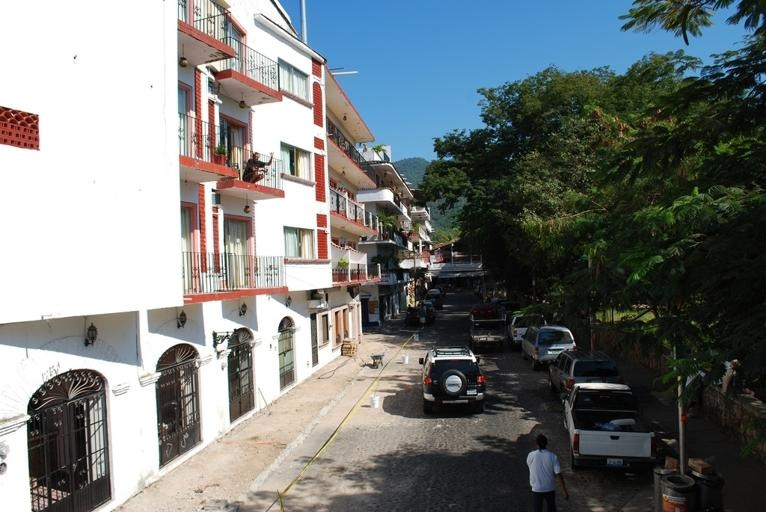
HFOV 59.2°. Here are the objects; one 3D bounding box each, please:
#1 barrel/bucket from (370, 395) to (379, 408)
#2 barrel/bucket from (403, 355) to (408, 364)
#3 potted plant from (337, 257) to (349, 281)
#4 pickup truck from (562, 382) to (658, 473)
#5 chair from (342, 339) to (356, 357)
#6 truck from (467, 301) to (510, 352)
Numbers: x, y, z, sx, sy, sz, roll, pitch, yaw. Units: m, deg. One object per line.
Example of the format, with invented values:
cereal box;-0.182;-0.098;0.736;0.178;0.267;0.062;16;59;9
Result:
barrel/bucket;-0.249;5.149;23.922;0.337;0.335;0.331;-1;-6;0
barrel/bucket;1.102;4.880;31.825;0.299;0.314;0.282;0;-3;0
potted plant;-2.005;0.712;34.173;0.416;1.108;1.626;-5;-6;5
pickup truck;6.376;4.755;19.587;2.101;1.949;4.643;1;4;11
chair;-1.799;4.684;34.894;0.685;0.765;1.096;-2;-6;17
truck;5.520;4.051;35.840;1.581;1.552;2.927;0;3;6
